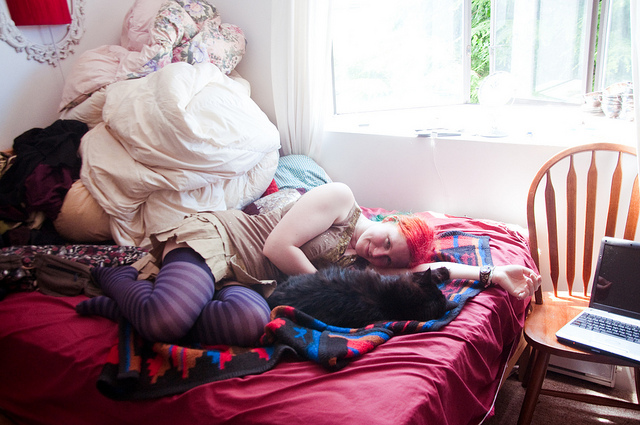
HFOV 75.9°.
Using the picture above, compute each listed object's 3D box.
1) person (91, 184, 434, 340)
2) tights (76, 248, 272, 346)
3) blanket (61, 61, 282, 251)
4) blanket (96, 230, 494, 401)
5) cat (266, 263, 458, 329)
[{"bbox_3d":[-0.178,0.207,1.779,1.223,0.446,0.721,-2,6,1],"label":"person"},{"bbox_3d":[-0.571,0.348,1.648,0.616,0.194,0.392,17,11,10],"label":"tights"},{"bbox_3d":[-0.803,-0.302,2.206,0.961,0.407,1.171,-27,56,-24],"label":"blanket"},{"bbox_3d":[-0.124,0.515,1.617,1.373,0.388,0.452,1,11,-20],"label":"blanket"},{"bbox_3d":[0.182,0.342,1.756,0.765,0.313,0.289,0,44,3],"label":"cat"}]
